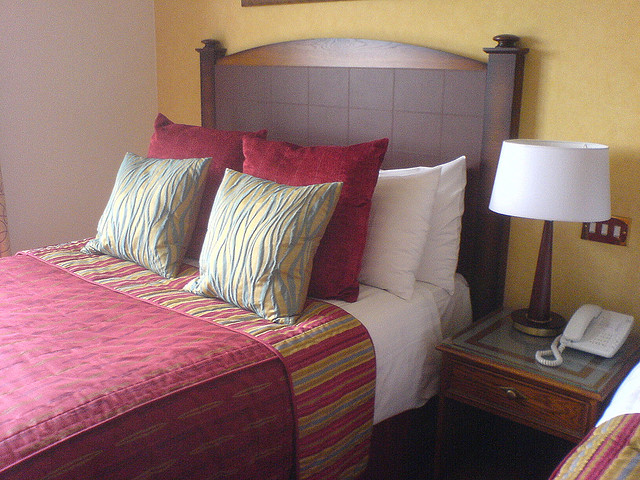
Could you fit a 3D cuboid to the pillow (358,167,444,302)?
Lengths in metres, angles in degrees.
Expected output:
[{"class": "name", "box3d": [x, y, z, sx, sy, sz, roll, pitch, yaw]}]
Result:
[{"class": "pillow", "box3d": [0.324, -0.044, 2.414, 0.276, 0.509, 0.553, -15, 12, -18]}]

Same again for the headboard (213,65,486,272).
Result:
[{"class": "headboard", "box3d": [0.182, -0.307, 2.347, 0.060, 0.652, 0.998, -9, 19, -42]}]

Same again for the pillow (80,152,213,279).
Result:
[{"class": "pillow", "box3d": [-0.830, -0.148, 2.544, 0.648, 0.485, 0.380, 11, 21, 38]}]

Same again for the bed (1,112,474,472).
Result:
[{"class": "bed", "box3d": [-0.379, 0.186, 2.235, 1.781, 1.250, 1.397, -6, 17, -35]}]

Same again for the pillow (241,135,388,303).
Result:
[{"class": "pillow", "box3d": [-0.081, -0.108, 2.323, 0.694, 0.623, 0.356, 9, 26, 30]}]

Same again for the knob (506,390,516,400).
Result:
[{"class": "knob", "box3d": [0.685, 0.559, 1.915, 0.031, 0.032, 0.032, 21, 39, 27]}]

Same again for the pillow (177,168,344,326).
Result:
[{"class": "pillow", "box3d": [-0.269, 0.008, 2.156, 0.607, 0.513, 0.332, 12, 17, 36]}]
